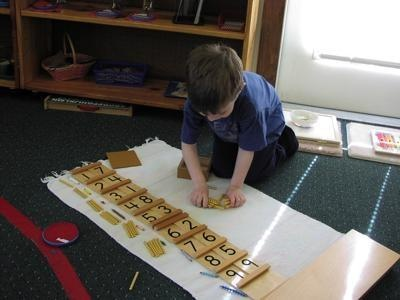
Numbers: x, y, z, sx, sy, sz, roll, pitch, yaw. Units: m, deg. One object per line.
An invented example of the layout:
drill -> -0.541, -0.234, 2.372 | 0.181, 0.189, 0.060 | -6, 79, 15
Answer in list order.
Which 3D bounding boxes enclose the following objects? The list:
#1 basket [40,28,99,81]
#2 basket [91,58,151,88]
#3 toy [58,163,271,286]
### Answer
basket -> -0.989, -0.691, 2.348 | 0.384, 0.292, 0.286 | -17, 30, -39
basket -> -0.578, -0.574, 2.292 | 0.344, 0.117, 0.206 | 6, 38, 4
toy -> -0.186, 0.277, 1.385 | 1.037, 0.058, 0.179 | 26, 41, 27
